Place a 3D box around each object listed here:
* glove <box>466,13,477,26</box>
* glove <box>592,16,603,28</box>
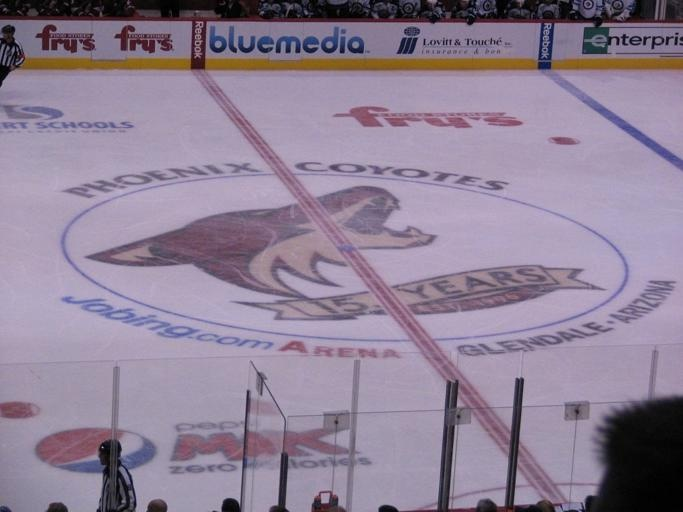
[{"bbox_3d":[2.261,-4.164,24.079,0.171,0.189,0.244,1,7,9],"label":"glove"},{"bbox_3d":[4.577,-4.192,24.502,0.189,0.185,0.255,1,7,9],"label":"glove"}]
